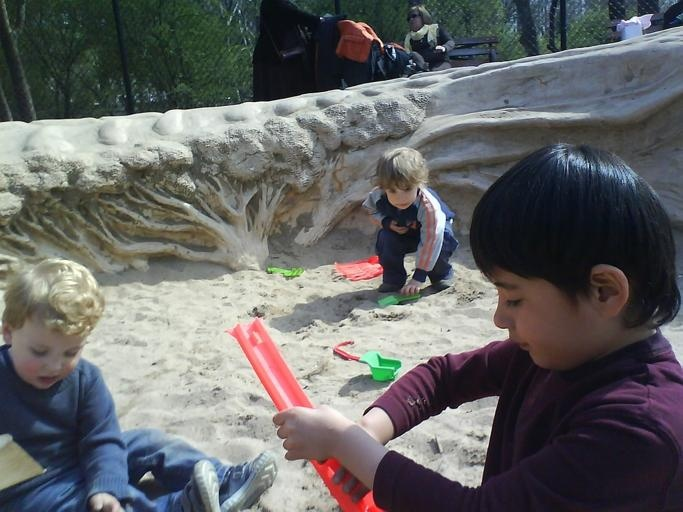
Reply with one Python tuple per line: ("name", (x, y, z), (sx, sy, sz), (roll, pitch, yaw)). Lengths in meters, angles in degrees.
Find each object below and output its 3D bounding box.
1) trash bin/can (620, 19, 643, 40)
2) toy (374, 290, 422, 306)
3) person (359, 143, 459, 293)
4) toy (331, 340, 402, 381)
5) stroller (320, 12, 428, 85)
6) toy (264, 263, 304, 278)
("trash bin/can", (3.582, -2.800, 9.014), (0.251, 0.199, 0.471), (1, 17, 22))
("toy", (0.379, 0.284, 4.811), (0.234, 0.035, 0.110), (-5, 13, -10))
("person", (0.463, -0.266, 4.979), (0.635, 0.972, 0.701), (4, 13, 35))
("toy", (0.145, 0.568, 3.915), (0.268, 0.096, 0.169), (7, 17, 19))
("stroller", (0.165, -1.990, 7.228), (0.878, 0.406, 0.754), (8, 26, 14))
("toy", (-0.437, 0.119, 5.545), (0.201, 0.055, 0.119), (7, 14, 9))
